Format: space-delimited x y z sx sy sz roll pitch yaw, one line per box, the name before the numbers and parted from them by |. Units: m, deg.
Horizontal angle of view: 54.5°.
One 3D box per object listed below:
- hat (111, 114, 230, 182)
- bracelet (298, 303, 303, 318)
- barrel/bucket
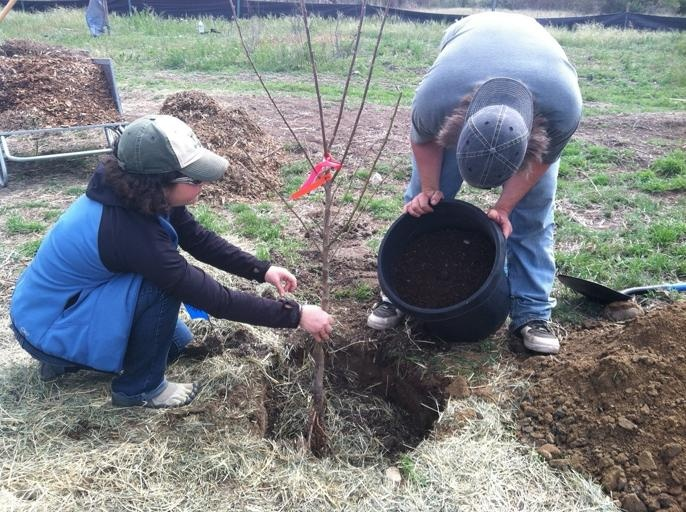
hat | -1.136 -0.694 4.423 0.645 0.303 0.387 -3 39 -3
bracelet | -0.290 0.372 4.625 0.059 0.059 0.061 -3 54 -1
barrel/bucket | 0.967 0.169 5.307 1.064 0.821 1.033 -11 67 28
